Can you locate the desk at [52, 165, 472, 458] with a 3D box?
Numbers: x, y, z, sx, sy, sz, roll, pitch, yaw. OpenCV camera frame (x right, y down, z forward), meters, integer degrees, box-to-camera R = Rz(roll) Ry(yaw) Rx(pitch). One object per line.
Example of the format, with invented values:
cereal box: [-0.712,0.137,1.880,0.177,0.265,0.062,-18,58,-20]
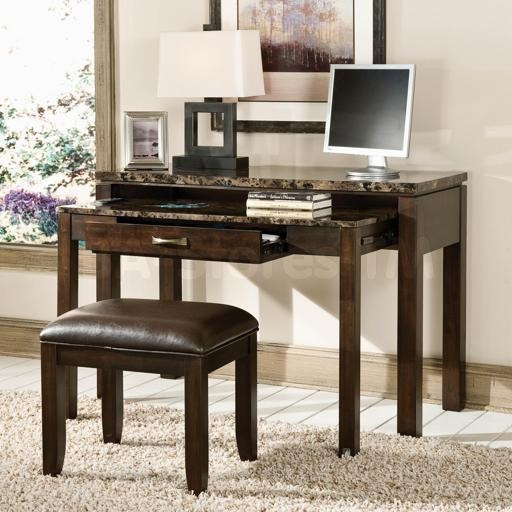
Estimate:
desk: [-0.031,0.159,2.248,1.398,0.869,0.928,2,7,28]

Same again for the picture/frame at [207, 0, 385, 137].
picture/frame: [0.187,-0.762,2.379,0.697,0.647,0.034,1,4,13]

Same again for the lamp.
lamp: [-0.191,-0.610,2.410,0.415,0.601,0.290,1,1,23]

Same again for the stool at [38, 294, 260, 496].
stool: [-0.279,0.259,1.712,0.590,0.503,0.488,2,5,24]

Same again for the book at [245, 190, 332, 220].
book: [0.098,-0.153,1.793,0.262,0.093,0.165,0,1,5]
